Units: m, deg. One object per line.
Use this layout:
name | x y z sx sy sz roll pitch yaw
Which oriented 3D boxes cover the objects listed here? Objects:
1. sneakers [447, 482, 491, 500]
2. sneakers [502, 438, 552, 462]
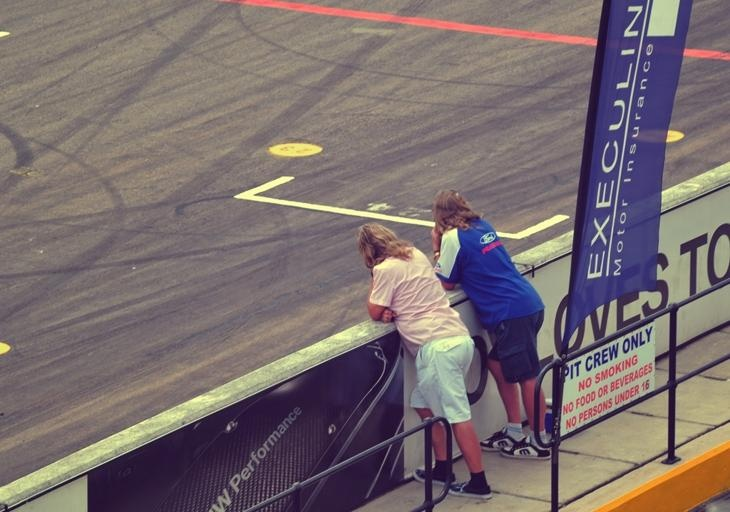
sneakers | 1.028 2.252 11.238 0.494 0.135 0.163 4 7 12
sneakers | 1.624 1.959 11.713 0.566 0.177 0.170 3 8 7
